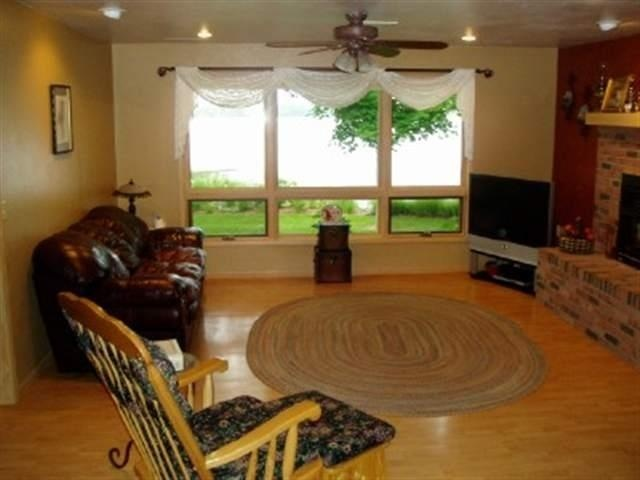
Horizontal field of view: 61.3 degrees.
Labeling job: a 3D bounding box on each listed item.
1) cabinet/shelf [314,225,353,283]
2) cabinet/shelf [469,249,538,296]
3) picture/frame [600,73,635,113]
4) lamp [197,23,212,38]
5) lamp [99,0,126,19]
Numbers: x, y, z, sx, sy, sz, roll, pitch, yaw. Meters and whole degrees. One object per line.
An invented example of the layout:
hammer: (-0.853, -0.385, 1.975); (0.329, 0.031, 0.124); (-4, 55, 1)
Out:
cabinet/shelf: (0.151, 0.166, 6.658); (0.451, 0.717, 0.200); (-2, 10, 2)
cabinet/shelf: (2.296, 0.338, 6.685); (0.894, 0.411, 0.670); (6, 13, 38)
picture/frame: (2.947, -1.436, 5.361); (0.103, 0.375, 0.276); (9, 9, -21)
lamp: (-1.175, -2.111, 5.472); (0.149, 0.135, 0.149); (7, 22, 9)
lamp: (-1.720, -1.886, 4.442); (0.151, 0.052, 0.149); (0, 5, -10)
